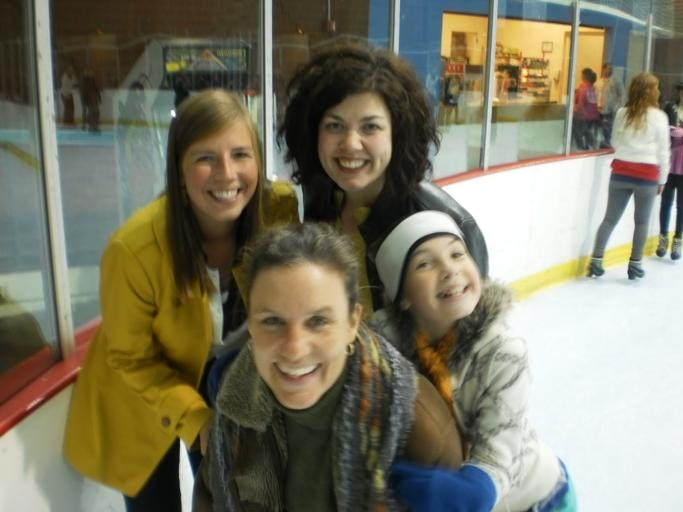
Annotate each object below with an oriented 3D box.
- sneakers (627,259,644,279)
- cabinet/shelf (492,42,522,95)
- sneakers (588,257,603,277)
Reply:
[{"bbox_3d":[3.361,0.157,7.068,0.214,0.254,0.142,-1,12,7],"label":"sneakers"},{"bbox_3d":[1.677,-1.867,6.334,0.320,0.552,0.342,1,0,-10],"label":"cabinet/shelf"},{"bbox_3d":[2.941,0.138,7.108,0.124,0.228,0.211,-1,1,-30],"label":"sneakers"}]
